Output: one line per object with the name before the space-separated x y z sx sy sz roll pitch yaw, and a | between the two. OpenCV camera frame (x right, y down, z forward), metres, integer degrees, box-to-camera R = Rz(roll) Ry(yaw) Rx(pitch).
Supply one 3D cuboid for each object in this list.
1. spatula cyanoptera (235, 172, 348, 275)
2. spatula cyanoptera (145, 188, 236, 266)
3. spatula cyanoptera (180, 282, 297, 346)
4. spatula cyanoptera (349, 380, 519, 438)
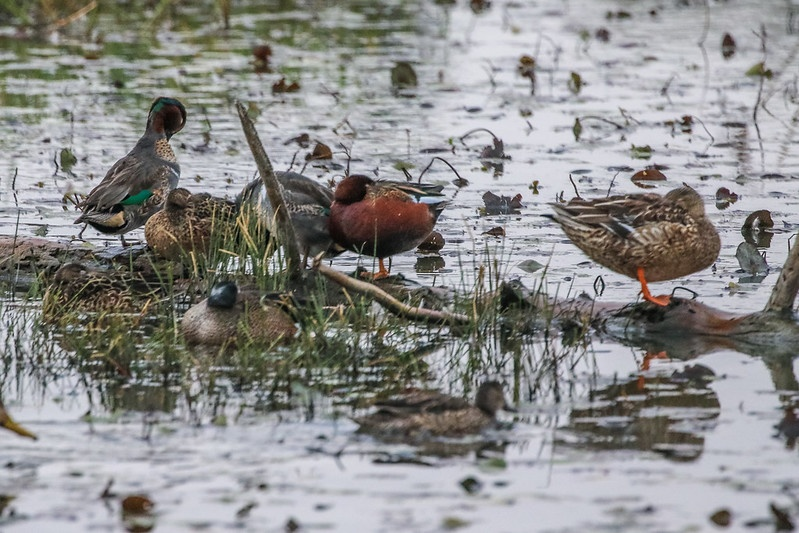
spatula cyanoptera | -1.194 -0.495 8.853 1.176 0.647 0.588 10 12 18
spatula cyanoptera | -1.948 -0.365 9.200 0.647 0.576 0.842 -16 24 6
spatula cyanoptera | -1.220 0.354 7.573 0.805 0.468 0.474 0 -2 0
spatula cyanoptera | 0.170 0.896 6.466 1.082 0.387 0.420 5 16 -12
